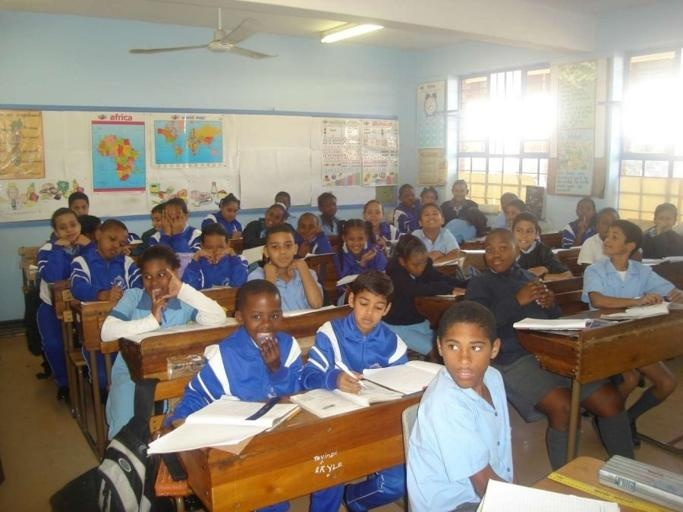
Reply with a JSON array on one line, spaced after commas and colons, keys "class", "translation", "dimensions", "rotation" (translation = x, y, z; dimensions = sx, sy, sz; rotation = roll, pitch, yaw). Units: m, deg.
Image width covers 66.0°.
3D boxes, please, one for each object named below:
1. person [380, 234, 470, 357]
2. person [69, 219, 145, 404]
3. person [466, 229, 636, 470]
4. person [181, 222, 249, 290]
[{"class": "person", "translation": [0.542, 0.285, 3.408], "dimensions": [0.634, 0.859, 0.425], "rotation": [7, 26, 37]}, {"class": "person", "translation": [-1.507, 0.381, 3.435], "dimensions": [0.455, 1.212, 0.470], "rotation": [8, 11, 39]}, {"class": "person", "translation": [1.009, 0.463, 2.480], "dimensions": [0.457, 0.811, 1.273], "rotation": [1, 5, 33]}, {"class": "person", "translation": [-0.889, 0.130, 3.748], "dimensions": [0.460, 0.714, 0.261], "rotation": [-2, 16, -8]}]
